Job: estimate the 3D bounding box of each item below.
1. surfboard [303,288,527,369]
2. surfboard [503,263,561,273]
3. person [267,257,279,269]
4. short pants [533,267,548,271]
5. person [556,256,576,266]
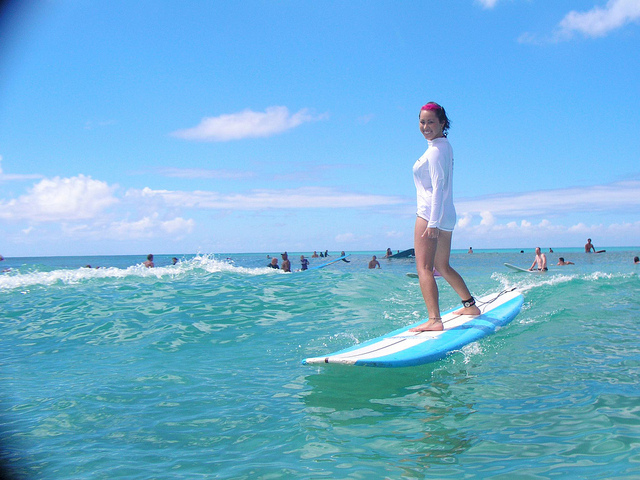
[{"bbox_3d":[1.911,1.248,6.553,1.079,0.468,4.658,-8,0,44],"label":"surfboard"},{"bbox_3d":[9.375,1.275,21.878,1.112,0.382,4.221,-3,-4,19],"label":"surfboard"},{"bbox_3d":[-1.994,0.961,20.047,0.366,0.481,1.227,-1,-4,-8],"label":"person"},{"bbox_3d":[9.795,1.249,20.770,0.339,0.102,0.227,0,-12,-3],"label":"short pants"},{"bbox_3d":[15.966,1.334,30.503,1.101,0.347,0.779,10,-3,24],"label":"person"}]
